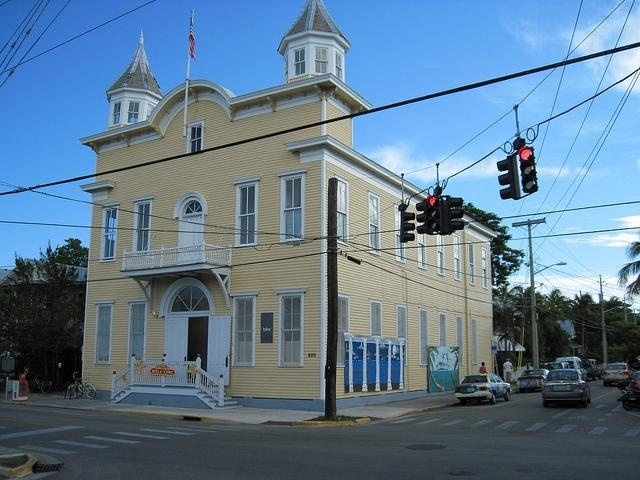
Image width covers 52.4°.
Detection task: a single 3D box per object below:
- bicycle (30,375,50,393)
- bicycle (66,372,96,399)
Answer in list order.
[{"bbox_3d":[-17.753,9.088,41.073,1.834,1.143,0.920,-7,-16,22],"label":"bicycle"},{"bbox_3d":[-13.110,8.096,35.386,1.117,1.105,2.087,8,-16,-39],"label":"bicycle"}]
